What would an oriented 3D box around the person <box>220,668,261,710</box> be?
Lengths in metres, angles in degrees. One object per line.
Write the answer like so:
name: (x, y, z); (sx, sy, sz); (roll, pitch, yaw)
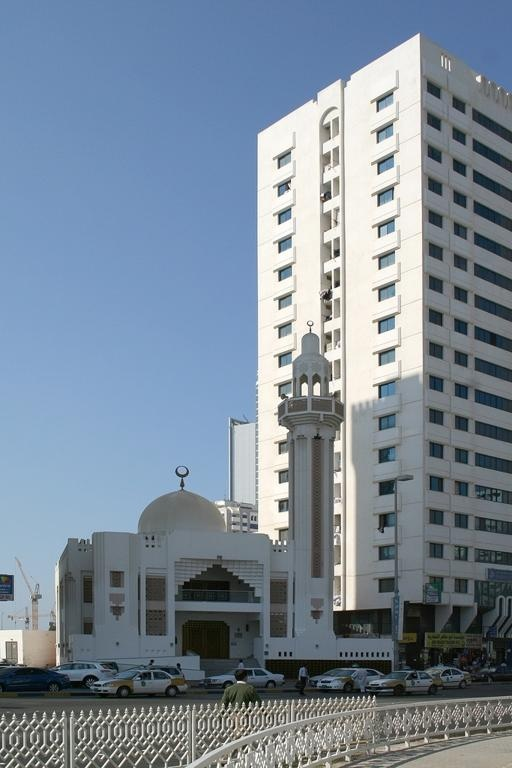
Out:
person: (-0.352, 7.103, 38.638); (0.884, 0.946, 1.420); (-1, -14, -1)
